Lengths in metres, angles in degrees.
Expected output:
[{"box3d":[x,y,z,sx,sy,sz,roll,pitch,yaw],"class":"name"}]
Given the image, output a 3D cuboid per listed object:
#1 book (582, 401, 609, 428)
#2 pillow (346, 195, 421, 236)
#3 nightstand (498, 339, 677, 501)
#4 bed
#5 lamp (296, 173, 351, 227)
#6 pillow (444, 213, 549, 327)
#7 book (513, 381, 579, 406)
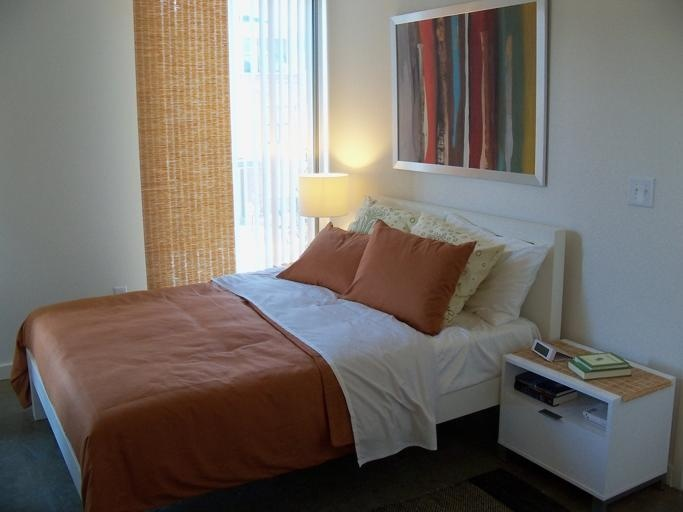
[{"box3d":[1.235,0.766,2.600,0.105,0.024,0.101,-9,14,-31],"class":"book"},{"box3d":[0.285,-0.275,3.790,0.116,0.249,0.396,31,-9,-39],"class":"pillow"},{"box3d":[1.281,0.774,2.838,0.613,0.656,0.813,-4,10,-29],"class":"nightstand"},{"box3d":[-0.239,0.499,2.771,2.076,0.852,1.587,-9,19,-26],"class":"bed"},{"box3d":[-0.150,-0.465,4.376,0.359,0.589,0.360,-3,17,-9],"class":"lamp"},{"box3d":[0.856,0.092,2.966,0.494,0.479,0.145,22,-4,40],"class":"pillow"},{"box3d":[1.058,0.699,2.735,0.151,0.035,0.148,-6,14,-31],"class":"book"}]
